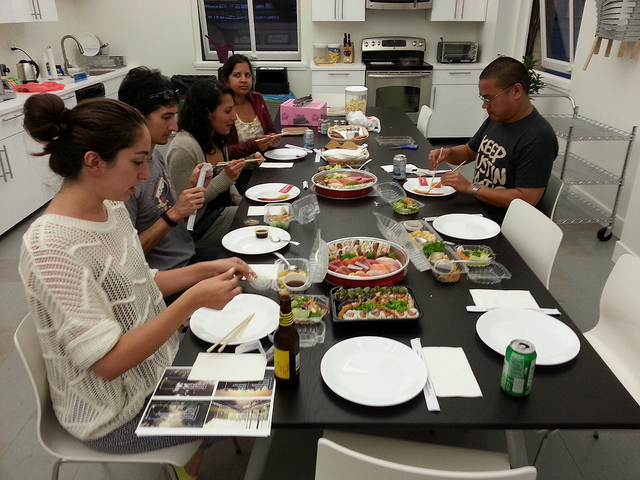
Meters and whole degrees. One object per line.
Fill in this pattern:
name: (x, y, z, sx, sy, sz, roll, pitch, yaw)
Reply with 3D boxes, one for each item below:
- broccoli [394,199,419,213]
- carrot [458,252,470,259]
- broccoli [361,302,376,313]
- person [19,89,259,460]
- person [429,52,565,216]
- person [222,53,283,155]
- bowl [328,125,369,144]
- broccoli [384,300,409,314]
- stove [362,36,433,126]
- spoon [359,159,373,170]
broccoli: (0.494, -0.199, 2.282, 0.086, 0.034, 0.091, 0, 26, 0)
carrot: (0.671, 0.073, 1.859, 0.026, 0.010, 0.024, 26, 17, -16)
broccoli: (0.181, 0.252, 1.492, 0.035, 0.022, 0.038, 1, 16, 2)
person: (-0.693, 0.143, 1.351, 0.565, 1.194, 0.584, 14, 31, 31)
person: (1.228, -0.614, 2.857, 0.698, 1.291, 0.894, -4, 30, -2)
person: (-0.692, -1.272, 3.651, 0.557, 0.813, 0.641, -1, 22, -4)
bowl: (0.249, -0.950, 3.480, 0.238, 0.093, 0.248, -1, 26, 0)
broccoli: (0.291, 0.248, 1.502, 0.049, 0.023, 0.049, -11, 28, -19)
stove: (1.163, -2.506, 6.307, 1.044, 1.380, 1.026, 5, 33, 13)
spoon: (0.336, -0.579, 2.990, 0.138, 0.021, 0.015, -44, 42, -20)
